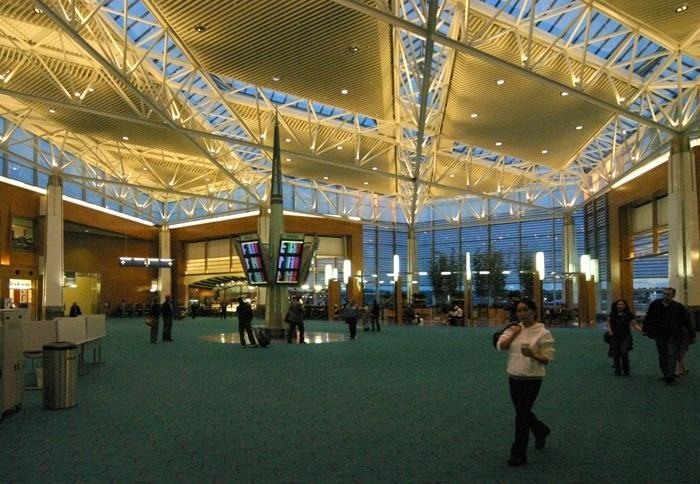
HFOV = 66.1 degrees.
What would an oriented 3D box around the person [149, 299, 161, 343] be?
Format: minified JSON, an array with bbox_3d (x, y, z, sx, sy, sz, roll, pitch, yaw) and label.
[{"bbox_3d":[-7.726,3.095,21.323,0.395,1.739,0.964,0,-10,-21],"label":"person"}]

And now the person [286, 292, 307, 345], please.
[{"bbox_3d":[-2.214,3.114,21.623,0.710,1.914,1.575,-2,-9,-7],"label":"person"}]

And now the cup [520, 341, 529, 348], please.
[{"bbox_3d":[2.793,1.647,8.596,0.124,0.084,0.140,-5,-9,13],"label":"cup"}]

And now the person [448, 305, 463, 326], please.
[{"bbox_3d":[6.598,4.648,33.470,0.771,1.062,1.825,-7,-10,22],"label":"person"}]

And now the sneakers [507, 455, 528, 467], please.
[{"bbox_3d":[2.698,3.515,8.666,0.340,0.133,0.130,1,-2,-30],"label":"sneakers"}]

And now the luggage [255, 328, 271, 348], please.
[{"bbox_3d":[-3.382,3.736,20.934,0.288,0.670,0.512,-15,21,35],"label":"luggage"}]
